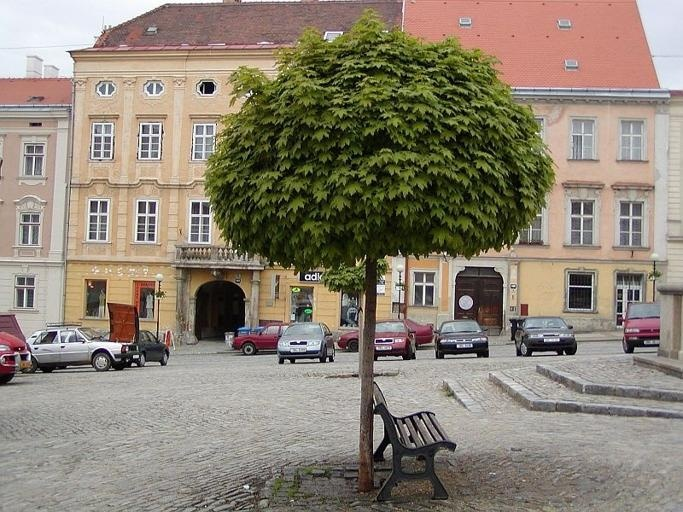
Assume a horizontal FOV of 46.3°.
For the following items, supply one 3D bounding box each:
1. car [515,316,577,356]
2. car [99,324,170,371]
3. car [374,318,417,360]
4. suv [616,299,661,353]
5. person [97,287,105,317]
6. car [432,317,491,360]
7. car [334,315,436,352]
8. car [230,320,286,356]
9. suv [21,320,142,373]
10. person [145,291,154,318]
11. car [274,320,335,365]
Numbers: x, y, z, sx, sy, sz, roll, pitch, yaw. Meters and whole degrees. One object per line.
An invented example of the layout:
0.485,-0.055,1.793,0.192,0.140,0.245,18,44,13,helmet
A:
7.444,2.897,28.933,1.192,0.823,2.206,-1,-11,2,car
-7.869,3.681,32.160,1.544,1.219,2.771,0,0,-1,car
2.138,3.154,29.926,1.471,1.390,1.982,-2,-5,2,car
11.830,2.611,29.709,1.826,1.828,3.792,-6,-6,19,suv
-13.670,2.661,45.481,0.341,1.666,0.492,0,-5,-22,person
4.615,3.112,29.585,1.899,1.233,1.813,-2,-5,6,car
2.323,3.857,38.665,4.582,1.450,2.076,0,-1,1,car
-4.050,4.046,39.015,2.559,1.069,1.452,0,-4,6,car
-9.486,3.310,29.304,3.161,1.318,1.735,-2,-3,7,suv
-10.759,2.759,44.938,0.655,1.467,0.174,-3,-5,24,person
-1.147,3.235,29.998,1.921,1.480,2.364,-4,-5,24,car
